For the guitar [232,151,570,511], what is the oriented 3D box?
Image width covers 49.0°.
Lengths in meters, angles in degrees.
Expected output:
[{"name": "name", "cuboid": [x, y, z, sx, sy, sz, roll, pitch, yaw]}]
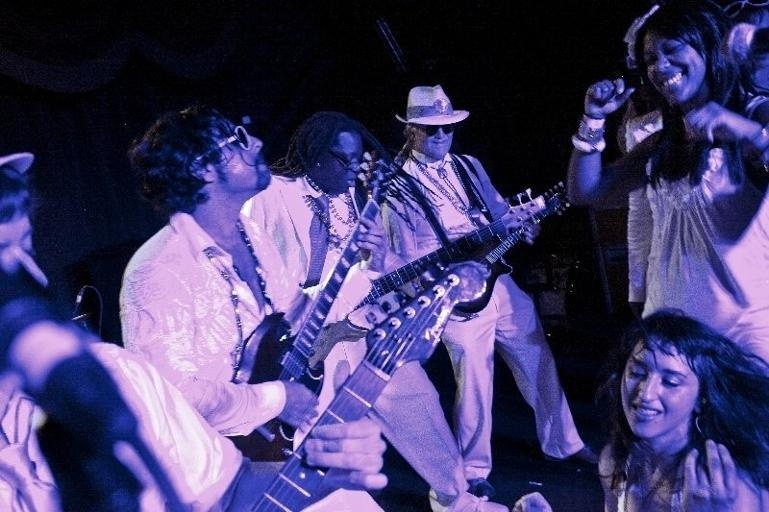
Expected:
[{"name": "guitar", "cuboid": [0.144, 0.083, 4.047, 2.447, 0.973, 0.289, -48, -7, -34]}]

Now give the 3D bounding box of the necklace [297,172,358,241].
[{"name": "necklace", "cuboid": [-0.263, -0.250, 4.370, 0.252, 0.353, 0.096, -51, 8, -21]}]

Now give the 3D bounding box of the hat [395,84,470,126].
[{"name": "hat", "cuboid": [0.268, -0.898, 4.873, 0.446, 0.206, 0.488, -8, 15, -12]}]

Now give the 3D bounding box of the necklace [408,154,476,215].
[{"name": "necklace", "cuboid": [0.330, -0.389, 4.786, 0.261, 0.439, 0.078, -33, 9, -18]}]

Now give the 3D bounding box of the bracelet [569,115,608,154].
[{"name": "bracelet", "cuboid": [1.025, -0.611, 4.169, 0.154, 0.162, 0.152, 4, 26, 4]}]

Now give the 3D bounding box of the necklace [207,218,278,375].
[{"name": "necklace", "cuboid": [-0.664, 0.247, 3.971, 0.071, 0.643, 0.271, -10, -10, 11]}]

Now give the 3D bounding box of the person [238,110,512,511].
[{"name": "person", "cuboid": [-0.062, 0.381, 4.308, 0.999, 2.436, 0.286, -6, -6, -45]}]

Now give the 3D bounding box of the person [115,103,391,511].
[{"name": "person", "cuboid": [-0.644, -0.105, 3.750, 0.325, 2.124, 0.964, -15, -35, 38]}]

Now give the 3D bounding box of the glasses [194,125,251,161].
[{"name": "glasses", "cuboid": [-0.757, -0.546, 3.964, 0.210, 0.079, 0.158, -26, 12, 11]}]
